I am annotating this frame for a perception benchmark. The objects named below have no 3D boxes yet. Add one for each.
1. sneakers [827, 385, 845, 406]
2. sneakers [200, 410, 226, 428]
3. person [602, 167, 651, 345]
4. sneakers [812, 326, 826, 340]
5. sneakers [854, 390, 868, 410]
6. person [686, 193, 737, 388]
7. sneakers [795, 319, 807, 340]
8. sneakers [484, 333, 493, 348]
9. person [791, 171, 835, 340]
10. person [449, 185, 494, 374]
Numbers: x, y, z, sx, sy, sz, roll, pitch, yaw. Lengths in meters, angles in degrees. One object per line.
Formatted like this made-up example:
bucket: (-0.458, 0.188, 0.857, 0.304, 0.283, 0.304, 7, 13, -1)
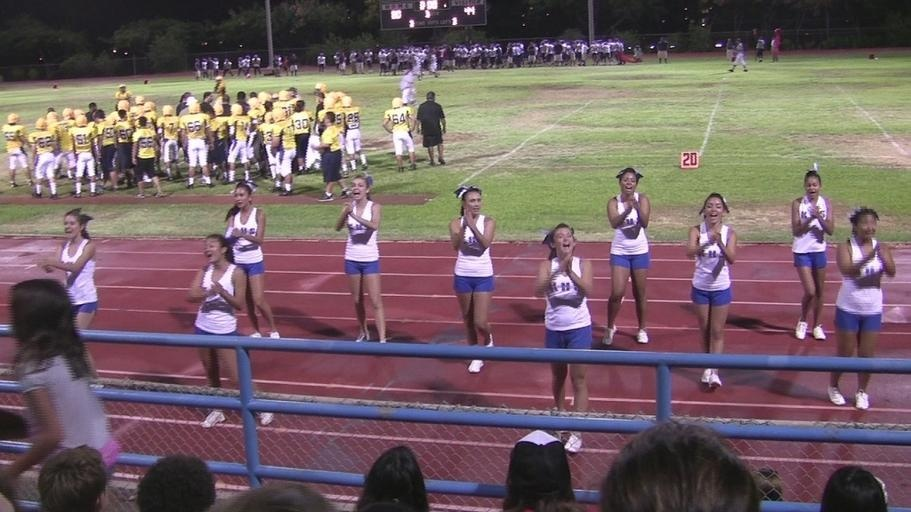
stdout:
sneakers: (6.040, 2.208, 13.680, 0.170, 0.135, 0.376, -11, 17, 11)
sneakers: (-3.731, 2.486, 13.182, 0.314, 0.140, 0.380, 7, 8, 0)
person: (3.057, 0.015, 15.390, 0.920, 3.148, 0.656, -12, 15, -36)
sneakers: (6.529, 1.368, 15.497, 0.165, 0.122, 0.320, -2, 15, 7)
sneakers: (6.320, 2.262, 13.436, 0.154, 0.135, 0.364, 0, 7, 25)
person: (4.203, 0.360, 14.189, 0.715, 2.672, 1.041, 0, 12, 13)
sneakers: (6.198, 1.317, 15.486, 0.170, 0.156, 0.403, 4, 43, 17)
sneakers: (0.604, 1.445, 14.979, 0.203, 0.201, 0.532, -1, 2, 6)
person: (6.359, -0.011, 15.436, 0.637, 2.969, 0.775, 2, 13, 20)
person: (0.312, 0.165, 14.786, 0.790, 2.675, 0.555, 7, 16, 40)
